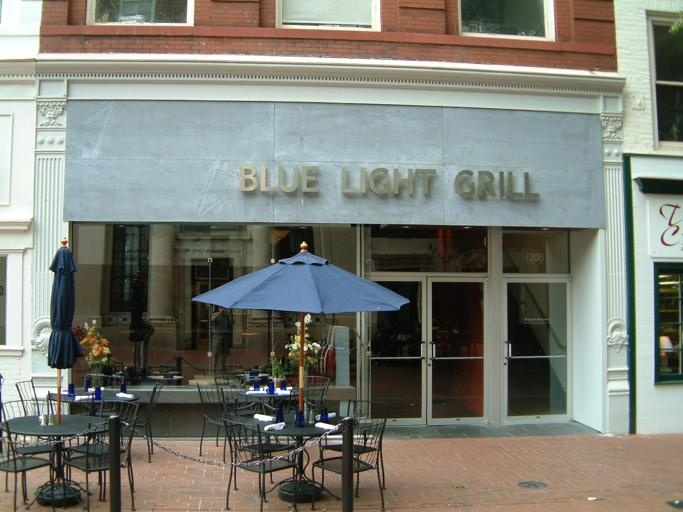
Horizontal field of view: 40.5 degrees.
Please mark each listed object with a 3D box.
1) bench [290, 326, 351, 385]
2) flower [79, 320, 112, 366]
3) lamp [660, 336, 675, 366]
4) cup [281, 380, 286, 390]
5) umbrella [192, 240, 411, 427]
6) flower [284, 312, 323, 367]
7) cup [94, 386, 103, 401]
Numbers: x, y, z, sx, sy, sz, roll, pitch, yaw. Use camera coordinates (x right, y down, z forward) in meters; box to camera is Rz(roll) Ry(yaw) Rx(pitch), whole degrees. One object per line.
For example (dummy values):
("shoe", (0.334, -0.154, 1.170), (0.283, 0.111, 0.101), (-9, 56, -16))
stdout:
("bench", (-0.520, 2.045, 18.736), (1.499, 1.360, 0.810), (11, -19, -36))
("flower", (-4.751, 1.692, 17.988), (0.543, 0.898, 0.281), (0, 9, -7))
("lamp", (6.592, 1.949, 18.913), (0.296, 0.660, 0.120), (1, 9, -2))
("cup", (-1.103, 2.460, 17.616), (0.123, 0.160, 0.124), (-1, -5, 0))
("umbrella", (-0.649, 1.355, 15.949), (3.618, 3.009, 3.510), (-2, 0, 23))
("flower", (-0.778, 1.721, 18.545), (0.965, 0.997, 0.964), (-2, 4, 14))
("cup", (-4.368, 2.502, 16.800), (0.187, 0.316, 0.186), (1, -1, 0))
